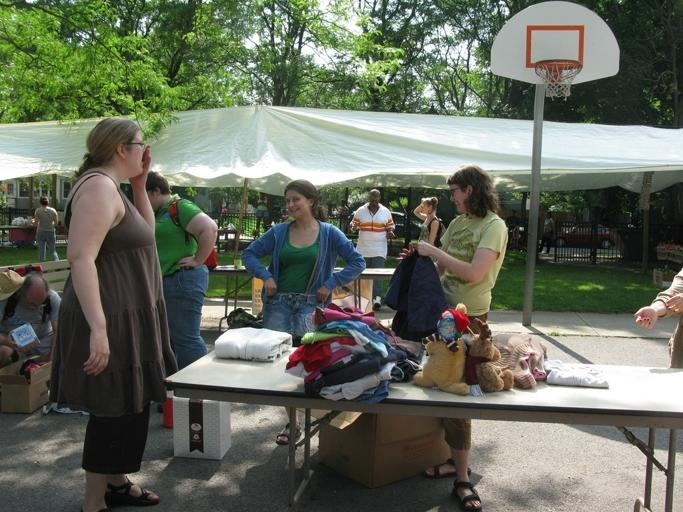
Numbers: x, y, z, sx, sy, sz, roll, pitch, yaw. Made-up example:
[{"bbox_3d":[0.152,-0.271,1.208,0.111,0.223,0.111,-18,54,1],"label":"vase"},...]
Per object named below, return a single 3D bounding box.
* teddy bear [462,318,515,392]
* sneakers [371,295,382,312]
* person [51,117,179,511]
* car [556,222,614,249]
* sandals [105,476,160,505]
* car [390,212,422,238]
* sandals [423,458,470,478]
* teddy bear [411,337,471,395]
[{"bbox_3d":[1.042,0.719,4.616,0.382,0.530,0.370,-2,3,15],"label":"teddy bear"},{"bbox_3d":[0.591,0.838,11.105,0.206,0.292,0.682,-2,-12,4],"label":"sneakers"},{"bbox_3d":[-1.669,0.520,4.671,0.861,2.992,0.626,-7,13,-39],"label":"person"},{"bbox_3d":[8.779,-0.717,23.283,1.852,0.902,1.050,3,3,13],"label":"car"},{"bbox_3d":[-1.656,1.864,5.107,0.461,0.189,0.169,1,1,-13],"label":"sandals"},{"bbox_3d":[2.959,-1.356,28.897,1.892,1.095,1.051,-2,5,6],"label":"car"},{"bbox_3d":[0.889,1.807,5.454,0.345,0.137,0.164,3,0,-9],"label":"sandals"},{"bbox_3d":[0.705,0.765,4.556,0.340,0.406,0.397,-2,6,-31],"label":"teddy bear"}]
